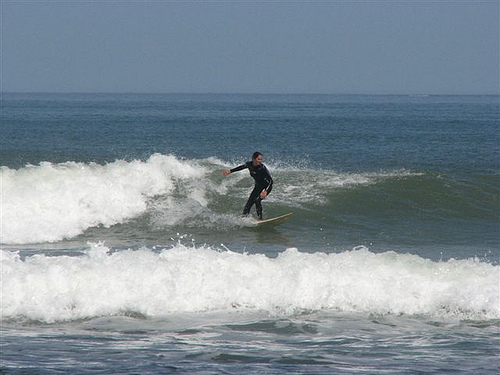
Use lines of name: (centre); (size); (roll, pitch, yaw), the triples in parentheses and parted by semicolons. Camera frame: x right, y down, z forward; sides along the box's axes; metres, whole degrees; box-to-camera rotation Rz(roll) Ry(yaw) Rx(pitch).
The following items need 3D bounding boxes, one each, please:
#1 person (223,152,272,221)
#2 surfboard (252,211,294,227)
person: (0.184, 0.016, 29.969); (1.058, 2.173, 1.221); (3, 4, 2)
surfboard: (0.742, 1.068, 31.097); (1.400, 0.199, 0.142); (-13, 41, -18)
